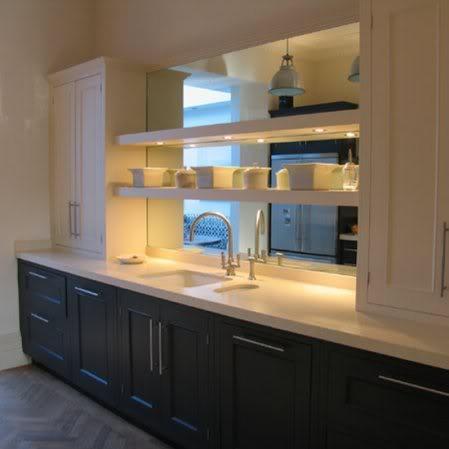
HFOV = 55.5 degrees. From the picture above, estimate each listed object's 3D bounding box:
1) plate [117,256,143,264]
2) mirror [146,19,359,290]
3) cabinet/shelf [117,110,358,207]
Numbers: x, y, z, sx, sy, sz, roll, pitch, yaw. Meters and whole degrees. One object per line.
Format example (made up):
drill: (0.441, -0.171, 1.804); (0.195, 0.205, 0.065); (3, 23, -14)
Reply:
plate: (-0.660, 0.253, 3.043); (0.184, 0.055, 0.158); (-2, 4, -7)
mirror: (0.183, -0.396, 2.467); (0.170, 1.541, 1.531); (1, 1, -44)
cabinet/shelf: (0.052, -0.356, 2.473); (1.689, 0.489, 0.342); (3, 6, 44)
